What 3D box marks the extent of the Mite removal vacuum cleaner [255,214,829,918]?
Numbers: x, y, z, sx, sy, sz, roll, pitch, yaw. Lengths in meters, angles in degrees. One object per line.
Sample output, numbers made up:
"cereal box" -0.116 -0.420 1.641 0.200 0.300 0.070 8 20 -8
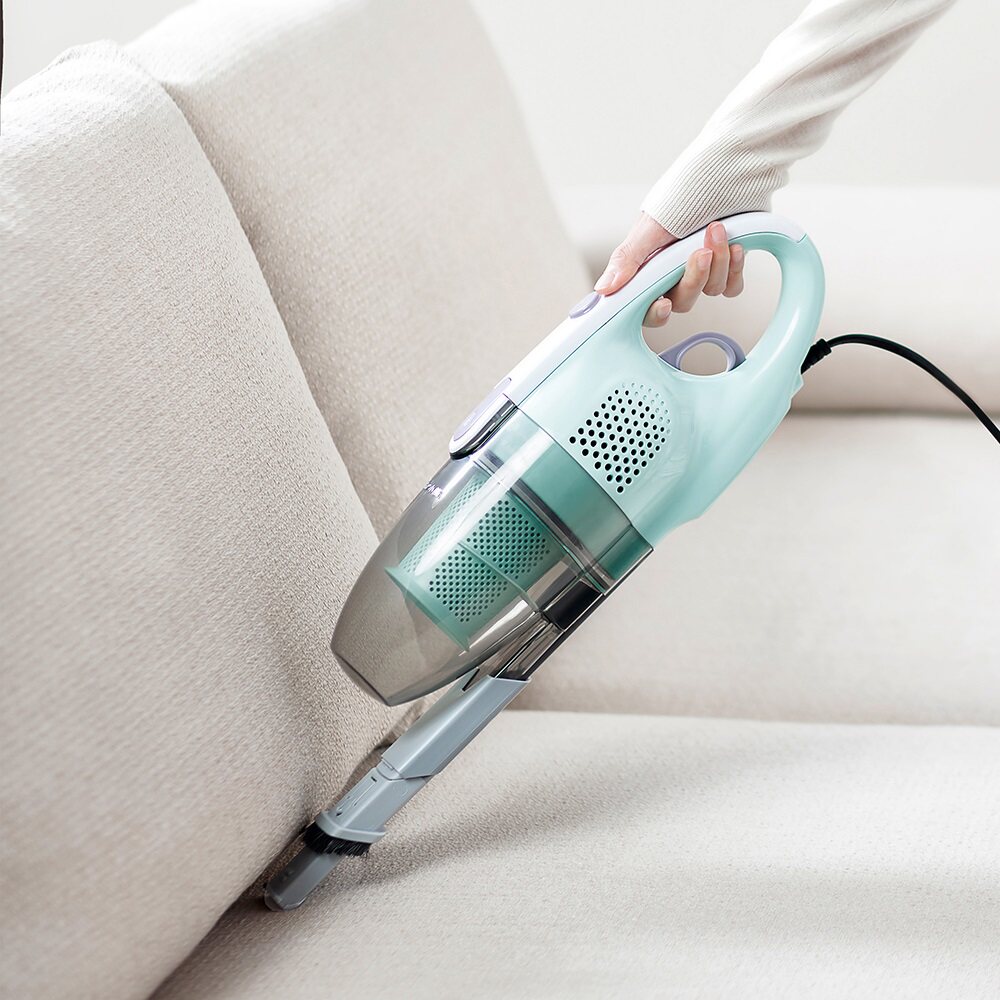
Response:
"Mite removal vacuum cleaner" 0.020 0.063 0.947 0.330 0.733 0.170 50 0 -44
